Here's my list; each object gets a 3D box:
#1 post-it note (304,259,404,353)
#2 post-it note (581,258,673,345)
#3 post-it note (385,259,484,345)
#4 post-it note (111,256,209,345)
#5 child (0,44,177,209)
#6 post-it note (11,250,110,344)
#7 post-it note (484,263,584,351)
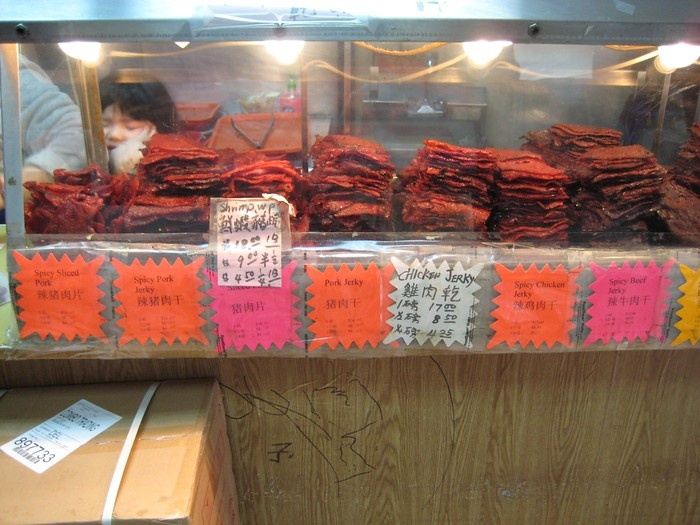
[{"bbox_3d":[0.009,0.115,1.561,0.276,0.264,0.012,0,14,-8],"label":"post-it note"},{"bbox_3d":[0.822,0.105,1.587,0.268,0.255,0.007,-5,21,-10],"label":"post-it note"},{"bbox_3d":[0.244,0.104,1.564,0.266,0.247,0.006,2,18,-7],"label":"post-it note"},{"bbox_3d":[-0.556,0.108,1.554,0.299,0.266,0.003,-3,1,11],"label":"post-it note"},{"bbox_3d":[-0.845,-0.396,1.731,0.526,0.447,0.121,-5,5,-34],"label":"child"},{"bbox_3d":[-0.842,0.104,1.546,0.277,0.262,0.004,2,8,8],"label":"post-it note"},{"bbox_3d":[0.544,0.119,1.579,0.263,0.243,0.014,-3,15,-8],"label":"post-it note"}]
